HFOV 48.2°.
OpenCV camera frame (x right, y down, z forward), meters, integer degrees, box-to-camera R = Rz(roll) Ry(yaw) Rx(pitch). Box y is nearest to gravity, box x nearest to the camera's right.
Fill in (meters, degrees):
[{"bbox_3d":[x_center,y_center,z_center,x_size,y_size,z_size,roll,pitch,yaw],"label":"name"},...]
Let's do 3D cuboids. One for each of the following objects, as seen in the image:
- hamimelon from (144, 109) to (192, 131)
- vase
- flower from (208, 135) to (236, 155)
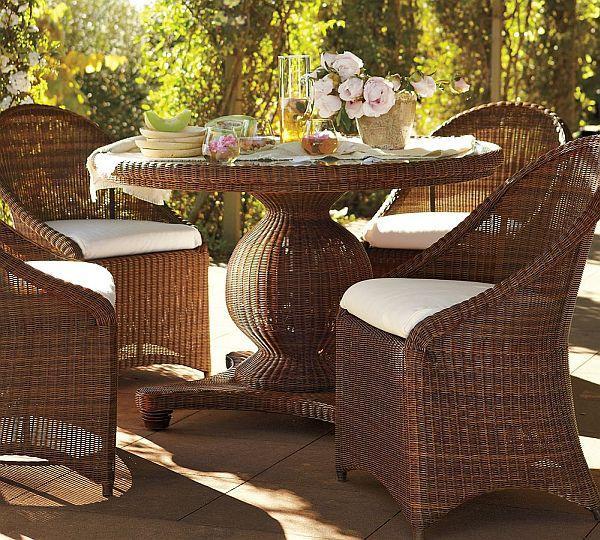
[{"bbox_3d":[-0.446,-0.461,2.256,0.228,0.064,0.099,-2,3,-27],"label":"hamimelon"},{"bbox_3d":[0.377,-0.521,2.404,0.291,0.178,0.202,6,17,26],"label":"vase"},{"bbox_3d":[-0.225,-0.368,1.973,0.079,0.028,0.077,-3,10,-10],"label":"flower"}]
